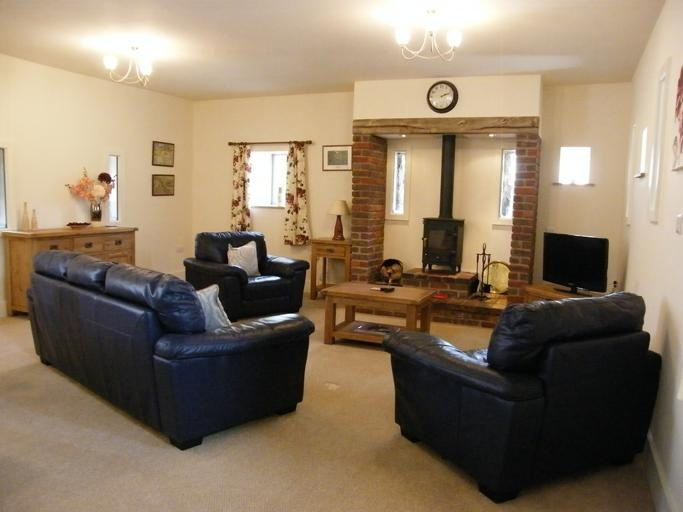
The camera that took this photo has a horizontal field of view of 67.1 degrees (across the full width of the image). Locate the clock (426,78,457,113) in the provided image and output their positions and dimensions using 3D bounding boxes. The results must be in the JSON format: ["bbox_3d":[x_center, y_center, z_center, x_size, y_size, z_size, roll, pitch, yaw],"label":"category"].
[{"bbox_3d":[1.262,-2.017,6.448,0.422,0.437,0.059,2,3,28],"label":"clock"}]

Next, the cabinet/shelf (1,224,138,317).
[{"bbox_3d":[-2.712,0.129,4.941,0.373,0.705,1.073,4,6,27],"label":"cabinet/shelf"}]

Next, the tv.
[{"bbox_3d":[2.558,0.103,5.660,0.179,0.495,0.686,-6,9,-25],"label":"tv"}]

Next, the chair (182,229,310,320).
[{"bbox_3d":[-1.223,0.230,6.526,1.395,0.991,1.361,0,6,-21],"label":"chair"}]

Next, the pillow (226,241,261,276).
[{"bbox_3d":[-1.227,0.038,6.330,0.409,0.446,0.168,-2,-10,-23],"label":"pillow"}]

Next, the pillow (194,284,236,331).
[{"bbox_3d":[-0.927,0.369,3.677,0.111,0.295,0.288,-20,-7,33],"label":"pillow"}]

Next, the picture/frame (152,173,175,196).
[{"bbox_3d":[-2.822,-1.123,8.100,0.016,0.265,0.383,3,7,23],"label":"picture/frame"}]

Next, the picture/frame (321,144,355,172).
[{"bbox_3d":[-0.037,-1.472,7.680,0.541,0.443,0.025,2,4,19],"label":"picture/frame"}]

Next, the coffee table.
[{"bbox_3d":[0.392,0.395,5.519,1.019,0.571,0.711,4,6,29],"label":"coffee table"}]

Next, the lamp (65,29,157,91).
[{"bbox_3d":[-2.453,-2.208,5.951,0.752,0.347,0.719,21,33,17],"label":"lamp"}]

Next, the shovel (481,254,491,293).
[{"bbox_3d":[1.964,0.256,7.018,0.133,0.495,0.496,5,13,15],"label":"shovel"}]

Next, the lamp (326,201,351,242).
[{"bbox_3d":[-0.017,-0.538,7.562,0.300,0.567,0.637,1,12,0],"label":"lamp"}]

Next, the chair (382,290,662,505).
[{"bbox_3d":[1.264,0.859,3.671,1.544,1.197,1.389,-2,4,-35],"label":"chair"}]

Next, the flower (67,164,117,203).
[{"bbox_3d":[-3.332,-0.926,6.929,0.439,0.399,0.176,-14,-19,-35],"label":"flower"}]

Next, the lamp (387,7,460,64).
[{"bbox_3d":[0.847,-2.139,5.011,0.418,0.347,0.527,20,30,41],"label":"lamp"}]
